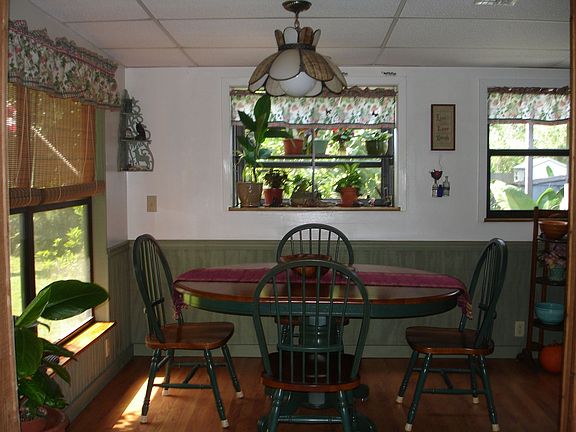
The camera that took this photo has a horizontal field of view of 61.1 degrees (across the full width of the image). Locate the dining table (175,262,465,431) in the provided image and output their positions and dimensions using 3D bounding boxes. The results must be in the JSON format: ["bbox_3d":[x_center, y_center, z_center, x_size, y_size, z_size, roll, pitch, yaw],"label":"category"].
[{"bbox_3d":[0.124,0.719,2.943,1.701,1.060,0.986,0,6,18],"label":"dining table"}]

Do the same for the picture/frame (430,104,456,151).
[{"bbox_3d":[1.350,-0.770,4.270,0.202,0.397,0.053,-2,5,-8],"label":"picture/frame"}]

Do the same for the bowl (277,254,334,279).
[{"bbox_3d":[0.102,0.303,3.099,0.217,0.082,0.204,-1,2,0],"label":"bowl"}]

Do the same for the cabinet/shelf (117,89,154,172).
[{"bbox_3d":[-1.309,-0.732,4.226,0.275,0.698,0.291,-2,5,-6],"label":"cabinet/shelf"}]

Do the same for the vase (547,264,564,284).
[{"bbox_3d":[2.178,0.472,3.974,0.144,0.180,0.152,2,0,4],"label":"vase"}]

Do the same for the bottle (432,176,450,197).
[{"bbox_3d":[1.344,-0.257,4.290,0.163,0.203,0.071,1,2,16],"label":"bottle"}]

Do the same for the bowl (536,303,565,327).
[{"bbox_3d":[2.126,0.787,3.985,0.204,0.162,0.217,-2,5,0],"label":"bowl"}]

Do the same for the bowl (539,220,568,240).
[{"bbox_3d":[2.139,0.110,3.932,0.149,0.099,0.148,1,3,0],"label":"bowl"}]
